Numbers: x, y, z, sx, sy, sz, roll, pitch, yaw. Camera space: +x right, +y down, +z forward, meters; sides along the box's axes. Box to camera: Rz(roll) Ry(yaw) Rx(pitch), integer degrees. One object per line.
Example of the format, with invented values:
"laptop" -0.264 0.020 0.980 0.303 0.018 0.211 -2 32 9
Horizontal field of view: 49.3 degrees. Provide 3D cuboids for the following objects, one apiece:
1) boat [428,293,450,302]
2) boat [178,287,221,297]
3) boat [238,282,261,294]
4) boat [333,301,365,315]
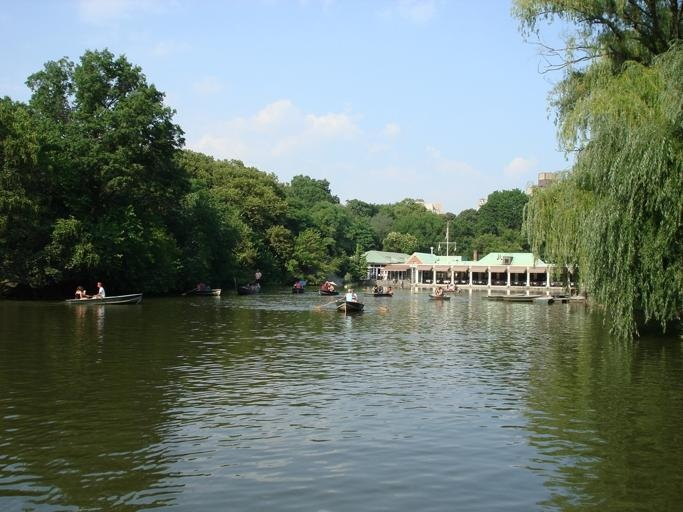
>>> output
"boat" 10.471 4.310 79.958 1.941 0.809 2.818 1 5 3
"boat" -15.797 3.973 83.624 3.989 0.923 6.133 0 5 -15
"boat" -11.142 4.034 91.917 1.098 0.966 3.289 0 -1 23
"boat" 0.627 3.811 56.549 1.795 0.950 2.402 1 5 -7
